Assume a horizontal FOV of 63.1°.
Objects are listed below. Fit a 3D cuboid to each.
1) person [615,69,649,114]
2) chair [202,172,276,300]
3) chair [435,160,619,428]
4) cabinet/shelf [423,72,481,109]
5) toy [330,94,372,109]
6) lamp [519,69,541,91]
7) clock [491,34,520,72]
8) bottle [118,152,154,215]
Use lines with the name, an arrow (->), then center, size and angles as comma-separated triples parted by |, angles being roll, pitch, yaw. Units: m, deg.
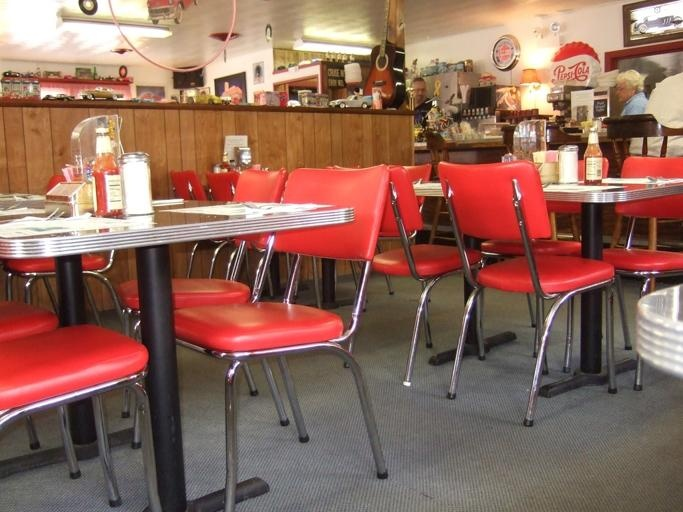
person -> 4.243, -2.332, 8.037 | 0.470, 0.660, 0.723 | -2, 24, 24
chair -> -0.410, -0.099, 2.344 | 0.421, 0.502, 0.374 | -7, 10, -20
chair -> 0.827, 0.119, 2.463 | 0.745, 0.996, 0.613 | -4, 8, -38
cabinet/shelf -> 2.214, -3.157, 10.742 | 0.628, 0.655, 1.068 | -6, 16, -16
toy -> 0.094, -1.396, 5.171 | 0.380, 0.099, 0.175 | -2, 7, -26
lamp -> 3.391, -3.153, 9.908 | 0.387, 0.394, 0.238 | -2, 11, -1
clock -> 3.005, -3.692, 10.125 | 0.114, 0.582, 0.499 | -12, 15, -39
bottle -> -0.598, -0.197, 1.562 | 0.113, 0.163, 0.104 | -4, 16, 1
